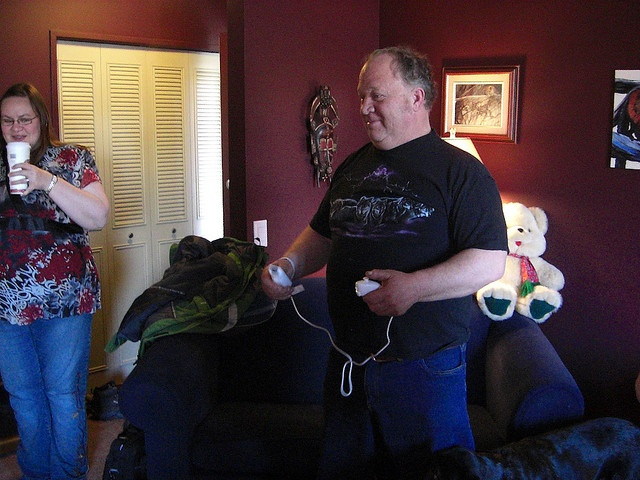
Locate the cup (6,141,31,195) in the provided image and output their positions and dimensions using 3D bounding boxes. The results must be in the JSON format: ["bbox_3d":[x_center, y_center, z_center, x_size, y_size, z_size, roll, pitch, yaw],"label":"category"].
[{"bbox_3d":[-1.302,-0.309,2.291,0.087,0.216,0.082,1,10,0],"label":"cup"}]

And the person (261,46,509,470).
[{"bbox_3d":[0.318,0.109,1.949,0.631,1.598,0.532,1,10,0],"label":"person"}]

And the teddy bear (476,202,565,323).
[{"bbox_3d":[1.150,0.112,3.085,0.458,0.663,0.453,3,0,25],"label":"teddy bear"}]

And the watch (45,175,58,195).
[{"bbox_3d":[-1.189,-0.244,2.375,0.018,0.066,0.068,27,7,-13],"label":"watch"}]
